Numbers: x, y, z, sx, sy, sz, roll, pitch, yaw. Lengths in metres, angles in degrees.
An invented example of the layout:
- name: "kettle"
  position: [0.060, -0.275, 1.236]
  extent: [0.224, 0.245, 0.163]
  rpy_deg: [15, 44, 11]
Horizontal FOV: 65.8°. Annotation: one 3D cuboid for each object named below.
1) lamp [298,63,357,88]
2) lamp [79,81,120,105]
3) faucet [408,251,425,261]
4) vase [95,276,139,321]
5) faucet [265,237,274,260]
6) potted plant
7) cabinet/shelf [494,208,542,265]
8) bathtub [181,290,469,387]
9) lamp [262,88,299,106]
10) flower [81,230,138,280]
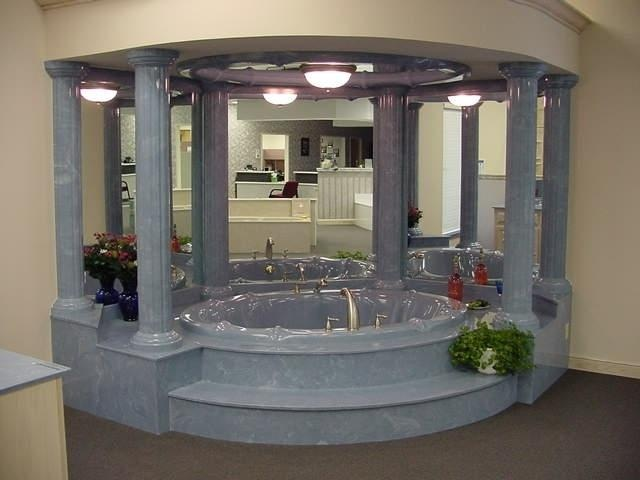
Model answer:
- name: "lamp"
  position: [0.061, -1.139, 3.411]
  extent: [0.367, 0.135, 0.195]
  rpy_deg: [-2, 8, -15]
- name: "lamp"
  position: [-1.764, -1.181, 3.966]
  extent: [0.180, 0.083, 0.183]
  rpy_deg: [-1, 7, -1]
- name: "faucet"
  position: [0.985, 0.158, 5.073]
  extent: [0.223, 0.073, 0.067]
  rpy_deg: [-6, 10, -39]
- name: "vase"
  position: [-1.563, 0.462, 3.815]
  extent: [0.340, 0.326, 0.143]
  rpy_deg: [7, 10, 34]
- name: "faucet"
  position: [-0.530, 0.092, 5.184]
  extent: [0.063, 0.220, 0.180]
  rpy_deg: [-1, 8, -10]
- name: "potted plant"
  position: [1.258, 0.767, 3.565]
  extent: [0.487, 0.304, 0.559]
  rpy_deg: [21, -26, -26]
- name: "cabinet/shelf"
  position: [2.403, 0.005, 6.026]
  extent: [0.583, 0.755, 1.757]
  rpy_deg: [3, 8, 20]
- name: "bathtub"
  position: [0.068, 0.596, 3.752]
  extent: [2.175, 0.572, 1.284]
  rpy_deg: [-2, 8, -17]
- name: "lamp"
  position: [-0.377, -1.358, 4.702]
  extent: [0.328, 0.104, 0.311]
  rpy_deg: [0, 8, -4]
- name: "flower"
  position: [-1.601, 0.125, 3.807]
  extent: [0.402, 0.402, 0.398]
  rpy_deg: [2, -1, -31]
